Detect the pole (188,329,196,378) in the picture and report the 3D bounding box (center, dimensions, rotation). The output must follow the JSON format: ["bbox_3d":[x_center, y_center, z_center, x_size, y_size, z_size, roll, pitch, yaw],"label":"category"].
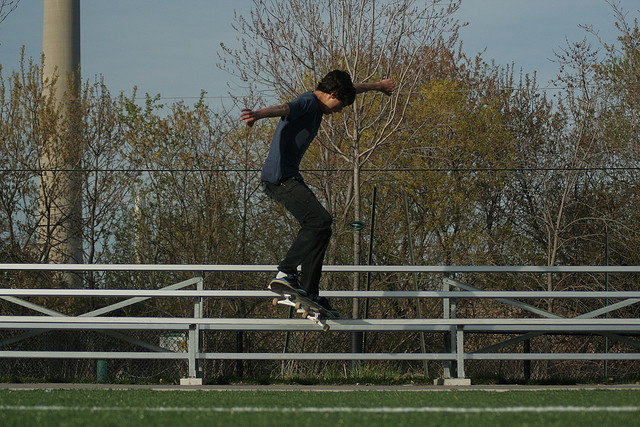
[{"bbox_3d":[-2.934,3.241,32.247,0.170,1.089,0.170,2,-9,-5],"label":"pole"}]

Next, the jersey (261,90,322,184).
[{"bbox_3d":[-0.542,-1.689,32.051,0.771,2.581,1.808,9,-18,25],"label":"jersey"}]
